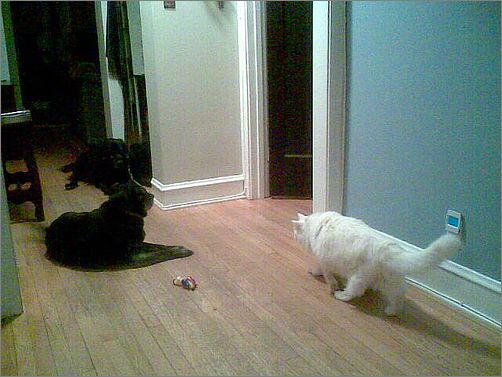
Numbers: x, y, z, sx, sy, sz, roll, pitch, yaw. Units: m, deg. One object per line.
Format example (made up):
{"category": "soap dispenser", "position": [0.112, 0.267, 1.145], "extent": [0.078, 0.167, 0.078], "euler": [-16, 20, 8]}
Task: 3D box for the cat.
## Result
{"category": "cat", "position": [0.623, 0.405, 2.159], "extent": [0.348, 0.472, 0.977], "euler": [9, 3, -40]}
